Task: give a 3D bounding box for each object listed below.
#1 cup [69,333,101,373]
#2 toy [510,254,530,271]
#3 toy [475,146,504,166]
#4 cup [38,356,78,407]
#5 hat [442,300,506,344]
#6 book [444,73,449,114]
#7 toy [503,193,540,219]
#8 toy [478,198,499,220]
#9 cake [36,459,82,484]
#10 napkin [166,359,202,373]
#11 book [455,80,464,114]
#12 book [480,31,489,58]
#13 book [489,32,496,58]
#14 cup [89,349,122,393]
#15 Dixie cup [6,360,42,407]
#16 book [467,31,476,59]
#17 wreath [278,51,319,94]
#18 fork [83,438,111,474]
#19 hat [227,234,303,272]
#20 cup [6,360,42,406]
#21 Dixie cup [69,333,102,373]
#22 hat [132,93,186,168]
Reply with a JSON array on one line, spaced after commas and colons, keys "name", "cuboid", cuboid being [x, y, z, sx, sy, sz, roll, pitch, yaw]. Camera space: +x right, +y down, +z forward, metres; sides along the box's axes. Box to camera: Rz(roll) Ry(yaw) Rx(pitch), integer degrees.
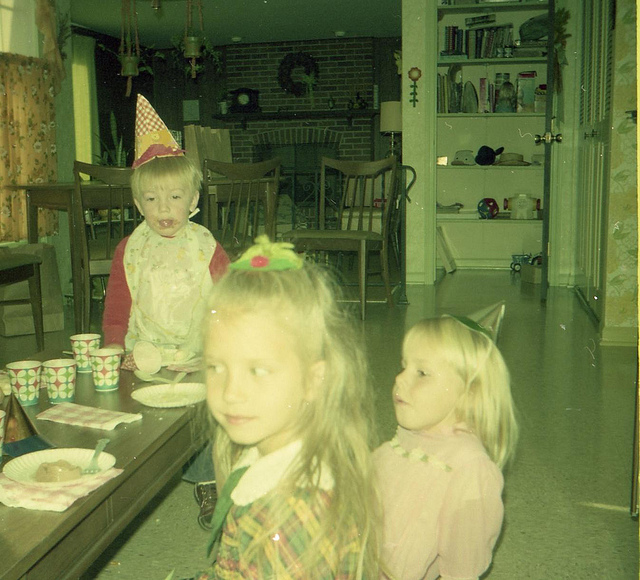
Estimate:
[{"name": "cup", "cuboid": [-0.591, 0.154, 1.771, 0.084, 0.098, 0.087, 1, 2, 0]}, {"name": "toy", "cuboid": [1.684, -0.219, 5.819, 0.144, 0.115, 0.240, -1, 9, 0]}, {"name": "toy", "cuboid": [1.474, -1.164, 6.069, 0.246, 0.159, 0.159, -1, 9, 2]}, {"name": "cup", "cuboid": [-0.575, 0.200, 1.579, 0.093, 0.110, 0.100, -2, 0, 0]}, {"name": "hat", "cuboid": [0.429, 0.085, 1.932, 0.130, 0.108, 0.207, 6, 12, 25]}, {"name": "book", "cuboid": [1.058, -1.631, 5.831, 0.038, 0.294, 0.142, 1, 9, 11]}, {"name": "toy", "cuboid": [1.768, -0.730, 6.094, 0.298, 0.205, 0.274, 0, 9, 8]}, {"name": "toy", "cuboid": [1.475, -0.709, 6.085, 0.174, 0.175, 0.208, 0, 9, 6]}, {"name": "cake", "cuboid": [-0.430, 0.300, 1.149, 0.061, 0.018, 0.088, -9, 12, -40]}, {"name": "napkin", "cuboid": [-0.333, 0.187, 1.695, 0.081, 0.020, 0.128, -4, 10, -15]}, {"name": "book", "cuboid": [1.189, -1.647, 5.948, 0.076, 0.285, 0.175, 1, 9, 12]}, {"name": "book", "cuboid": [1.359, -2.020, 5.755, 0.055, 0.199, 0.034, -4, 9, -18]}, {"name": "book", "cuboid": [1.427, -2.017, 5.762, 0.043, 0.190, 0.015, 1, 8, 11]}, {"name": "cup", "cuboid": [-0.488, 0.181, 1.583, 0.080, 0.096, 0.085, 0, 2, 0]}, {"name": "Dixie cup", "cuboid": [-0.635, 0.194, 1.498, 0.083, 0.098, 0.081, -1, -1, 0]}, {"name": "book", "cuboid": [1.246, -2.018, 5.743, 0.095, 0.189, 0.187, 0, 12, 10]}, {"name": "wreath", "cuboid": [-0.290, -2.850, 9.217, 0.542, 0.509, 0.145, -1, 8, -3]}, {"name": "fork", "cuboid": [-0.394, 0.283, 1.208, 0.015, 0.008, 0.056, -3, 36, 1]}, {"name": "hat", "cuboid": [-0.079, -0.048, 1.010, 0.106, 0.038, 0.045, -1, 9, -3]}, {"name": "cup", "cuboid": [-0.632, 0.202, 1.550, 0.085, 0.104, 0.092, -1, 1, 0]}, {"name": "Dixie cup", "cuboid": [-0.591, 0.151, 1.732, 0.082, 0.099, 0.090, 0, -1, 0]}, {"name": "hat", "cuboid": [-0.538, -0.509, 2.222, 0.188, 0.228, 0.145, -17, -2, -14]}]
